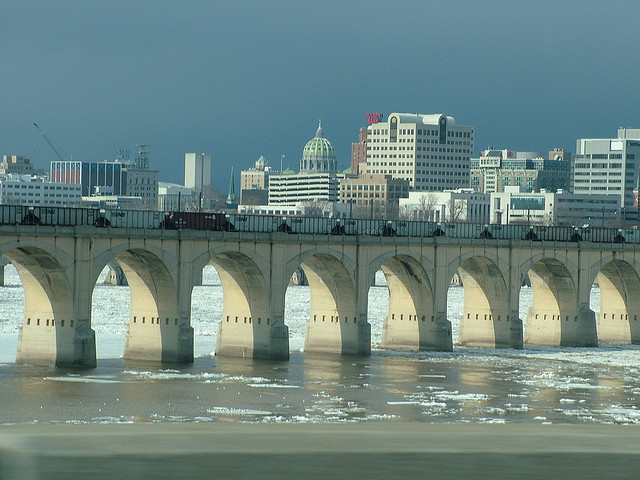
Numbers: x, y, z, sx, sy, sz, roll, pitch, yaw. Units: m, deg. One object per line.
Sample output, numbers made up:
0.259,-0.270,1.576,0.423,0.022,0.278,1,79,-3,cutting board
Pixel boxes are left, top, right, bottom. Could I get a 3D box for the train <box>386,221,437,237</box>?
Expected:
8.508,-0.577,166.422,6.519,1.693,1.793,-3,7,-30,train
